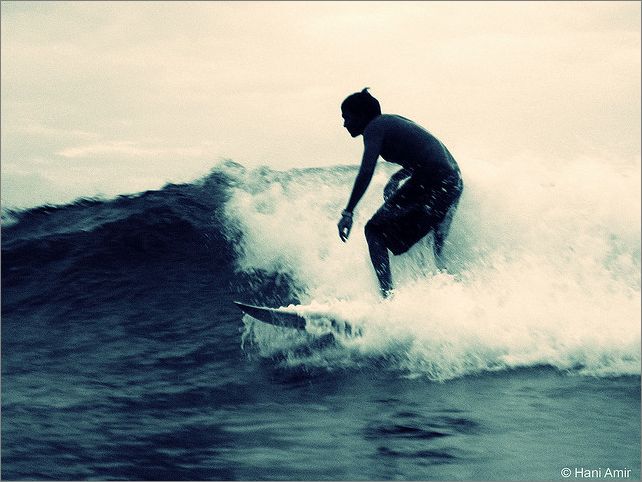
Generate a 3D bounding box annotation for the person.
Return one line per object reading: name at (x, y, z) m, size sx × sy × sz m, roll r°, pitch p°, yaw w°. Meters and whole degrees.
person at (0.670, -0.287, 8.245) m, size 1.047 × 1.522 × 0.479 m, roll 6°, pitch -7°, yaw -5°

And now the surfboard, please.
surfboard at (-0.196, 0.670, 8.155) m, size 1.022 × 0.205 × 0.222 m, roll 4°, pitch -6°, yaw -8°
